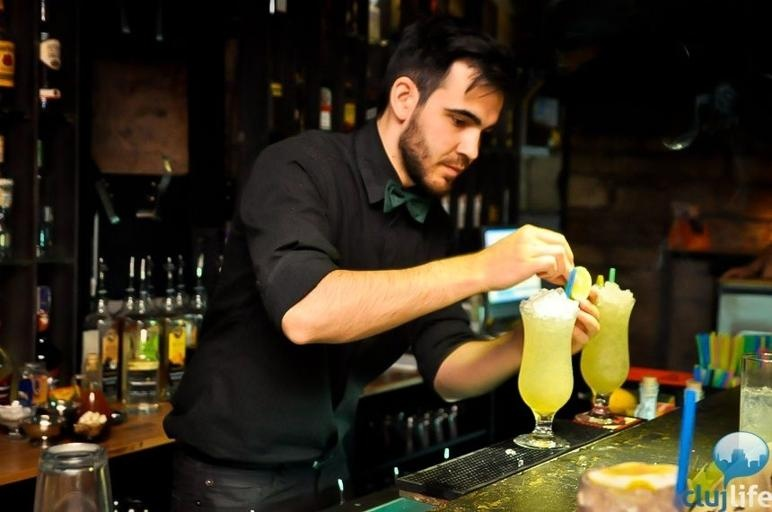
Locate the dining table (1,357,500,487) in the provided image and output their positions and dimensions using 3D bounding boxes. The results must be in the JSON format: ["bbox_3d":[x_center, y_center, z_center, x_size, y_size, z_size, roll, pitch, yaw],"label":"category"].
[{"bbox_3d":[-1.039,0.687,2.965,2.451,0.414,0.880,0,-9,-2],"label":"dining table"}]

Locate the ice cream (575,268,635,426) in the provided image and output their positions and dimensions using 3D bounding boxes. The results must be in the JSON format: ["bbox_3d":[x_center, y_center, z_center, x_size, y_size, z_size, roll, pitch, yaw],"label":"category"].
[{"bbox_3d":[0.769,0.315,2.383,0.180,0.512,0.167,2,-3,8],"label":"ice cream"}]

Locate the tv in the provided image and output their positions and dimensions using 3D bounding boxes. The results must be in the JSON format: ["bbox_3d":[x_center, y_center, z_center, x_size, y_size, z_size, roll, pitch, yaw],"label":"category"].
[{"bbox_3d":[0.797,0.085,4.265,0.503,0.667,0.149,-2,4,-23],"label":"tv"}]

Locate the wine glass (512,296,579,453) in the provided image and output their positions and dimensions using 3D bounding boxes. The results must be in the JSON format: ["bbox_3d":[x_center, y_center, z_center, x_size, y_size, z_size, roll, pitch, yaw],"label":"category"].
[{"bbox_3d":[0.500,0.348,2.133,0.185,0.478,0.178,6,5,24],"label":"wine glass"}]

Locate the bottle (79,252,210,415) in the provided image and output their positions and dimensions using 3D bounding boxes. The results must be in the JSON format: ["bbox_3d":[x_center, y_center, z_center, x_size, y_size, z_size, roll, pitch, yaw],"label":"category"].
[{"bbox_3d":[-1.179,0.397,3.438,0.442,1.154,0.412,1,-3,0],"label":"bottle"}]

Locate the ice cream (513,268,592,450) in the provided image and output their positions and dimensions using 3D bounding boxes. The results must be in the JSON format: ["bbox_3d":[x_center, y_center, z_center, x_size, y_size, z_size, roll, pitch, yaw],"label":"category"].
[{"bbox_3d":[0.529,0.313,2.142,0.227,0.538,0.183,-1,-4,33],"label":"ice cream"}]
